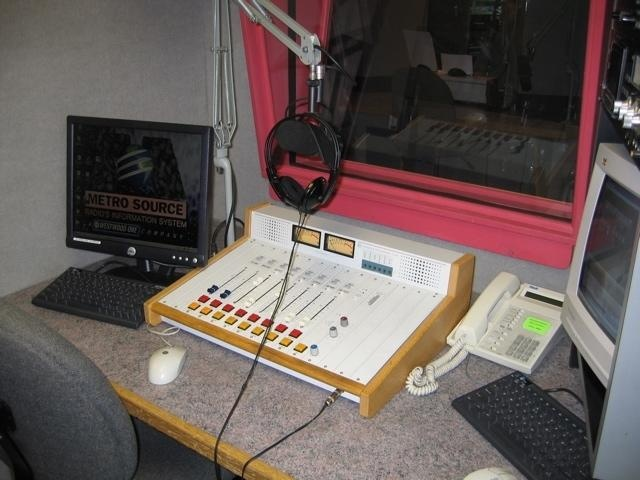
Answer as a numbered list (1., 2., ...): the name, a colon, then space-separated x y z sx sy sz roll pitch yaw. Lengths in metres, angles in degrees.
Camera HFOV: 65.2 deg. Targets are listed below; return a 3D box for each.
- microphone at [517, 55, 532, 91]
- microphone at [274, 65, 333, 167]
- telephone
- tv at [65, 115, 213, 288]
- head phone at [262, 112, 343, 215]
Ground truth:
1. microphone: 0.578 -0.470 1.408 0.044 0.090 0.021 11 27 29
2. microphone: -0.019 -0.345 1.595 0.225 0.357 0.079 3 7 21
3. telephone: 0.563 0.170 1.403 0.215 0.102 0.300 21 45 33
4. tv: -0.595 -0.132 1.631 0.441 0.481 0.154 10 10 13
5. head phone: -0.047 -0.252 1.520 0.275 0.349 0.104 16 22 34
